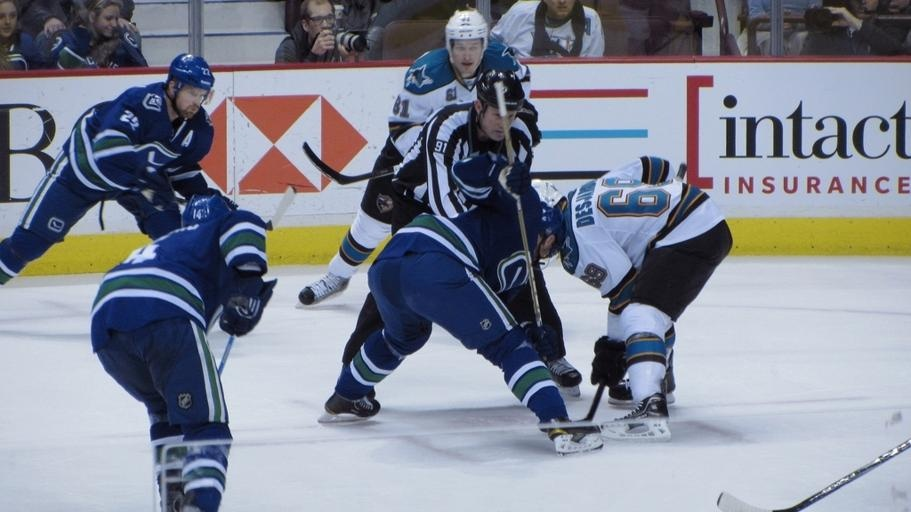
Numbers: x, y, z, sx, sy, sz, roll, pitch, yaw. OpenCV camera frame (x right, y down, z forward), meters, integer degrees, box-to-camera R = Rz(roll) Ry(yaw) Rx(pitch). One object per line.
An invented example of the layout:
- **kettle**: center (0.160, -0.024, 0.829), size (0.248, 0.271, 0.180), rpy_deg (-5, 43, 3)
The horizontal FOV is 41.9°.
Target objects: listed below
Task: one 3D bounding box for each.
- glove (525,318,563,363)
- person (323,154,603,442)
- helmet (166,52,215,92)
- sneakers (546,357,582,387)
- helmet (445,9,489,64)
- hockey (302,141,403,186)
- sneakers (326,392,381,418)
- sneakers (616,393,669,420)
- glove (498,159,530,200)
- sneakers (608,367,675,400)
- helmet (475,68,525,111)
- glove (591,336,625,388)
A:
- **glove**: center (0.487, 0.508, 7.061), size (0.251, 0.098, 0.188), rpy_deg (43, 18, 12)
- **person**: center (0.051, 0.308, 7.362), size (0.999, 1.674, 1.560), rpy_deg (20, -19, -39)
- **helmet**: center (-1.806, -1.268, 8.326), size (0.292, 0.264, 0.230), rpy_deg (7, 18, 15)
- **sneakers**: center (0.659, 0.705, 7.614), size (0.105, 0.135, 0.313), rpy_deg (-42, 28, -4)
- **helmet**: center (0.077, -1.566, 8.412), size (0.249, 0.264, 0.311), rpy_deg (0, 23, 0)
- **hockey**: center (-0.702, -0.630, 8.713), size (1.056, 0.243, 0.079), rpy_deg (11, 36, 43)
- **sneakers**: center (-0.618, 0.910, 7.231), size (0.392, 0.125, 0.172), rpy_deg (-3, -18, -12)
- **sneakers**: center (1.077, 0.887, 6.975), size (0.362, 0.143, 0.117), rpy_deg (-2, -5, 16)
- **glove**: center (0.337, -0.430, 6.897), size (0.181, 0.211, 0.054), rpy_deg (3, 11, 2)
- **sneakers**: center (1.177, 0.791, 7.392), size (0.519, 0.207, 0.168), rpy_deg (1, 1, -1)
- **helmet**: center (0.272, -0.988, 7.139), size (0.213, 0.181, 0.271), rpy_deg (1, 30, -14)
- **glove**: center (0.909, 0.632, 7.124), size (0.257, 0.242, 0.101), rpy_deg (3, -5, 29)
